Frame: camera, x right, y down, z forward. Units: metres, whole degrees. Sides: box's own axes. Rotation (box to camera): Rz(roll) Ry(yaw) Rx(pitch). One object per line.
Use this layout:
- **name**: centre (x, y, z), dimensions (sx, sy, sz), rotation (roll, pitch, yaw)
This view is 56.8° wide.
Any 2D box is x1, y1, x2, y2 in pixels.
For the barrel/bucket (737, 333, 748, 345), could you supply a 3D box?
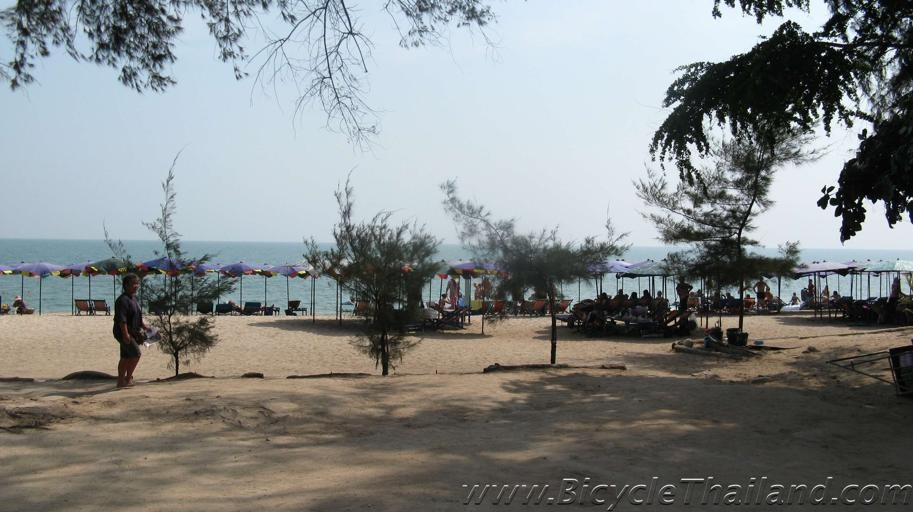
- **barrel/bucket**: centre (9.381, 2.799, 27.682), dimensions (0.385, 0.282, 0.375), rotation (1, 4, 0)

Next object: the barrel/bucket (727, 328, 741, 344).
- **barrel/bucket**: centre (9.116, 2.733, 27.854), dimensions (0.498, 0.475, 0.453), rotation (3, -1, 0)

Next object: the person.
- **person**: centre (-8.264, 1.910, 21.470), dimensions (0.803, 2.852, 1.229), rotation (0, -3, -19)
